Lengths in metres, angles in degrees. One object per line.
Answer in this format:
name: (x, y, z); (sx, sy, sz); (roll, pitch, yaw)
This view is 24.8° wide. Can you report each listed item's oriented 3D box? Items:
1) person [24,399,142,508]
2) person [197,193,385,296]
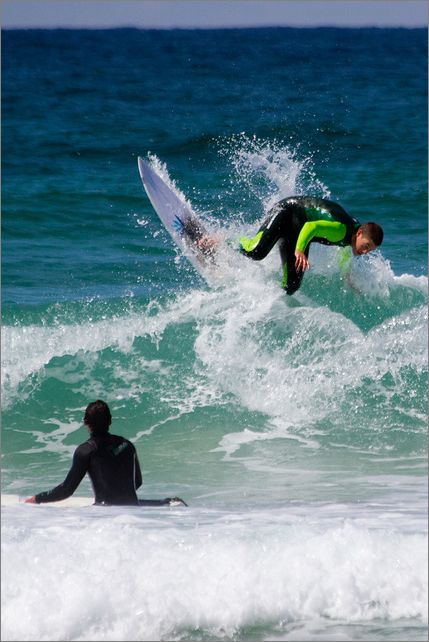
person: (-1.130, 1.156, 8.342); (0.818, 1.088, 0.601); (-7, 4, -40)
person: (0.903, -0.798, 9.454); (2.323, 0.987, 1.060); (-2, -2, 38)
